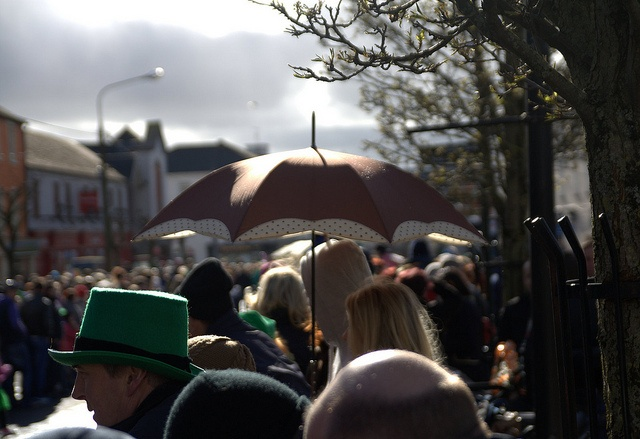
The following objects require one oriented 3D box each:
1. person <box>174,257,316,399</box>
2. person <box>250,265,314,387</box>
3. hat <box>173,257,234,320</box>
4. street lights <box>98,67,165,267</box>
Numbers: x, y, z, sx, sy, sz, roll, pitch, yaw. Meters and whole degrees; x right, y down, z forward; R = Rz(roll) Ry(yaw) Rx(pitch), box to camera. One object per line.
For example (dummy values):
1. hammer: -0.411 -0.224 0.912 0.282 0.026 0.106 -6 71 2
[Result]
1. person: -0.640 0.912 10.758 1.125 0.497 0.893 22 -2 14
2. person: -0.338 0.885 11.892 0.644 0.863 0.415 2 0 -2
3. hat: -0.971 0.628 10.965 0.368 0.383 0.528 6 -5 -9
4. street lights: -1.894 -0.293 12.702 0.728 0.291 2.218 -10 -27 -18
